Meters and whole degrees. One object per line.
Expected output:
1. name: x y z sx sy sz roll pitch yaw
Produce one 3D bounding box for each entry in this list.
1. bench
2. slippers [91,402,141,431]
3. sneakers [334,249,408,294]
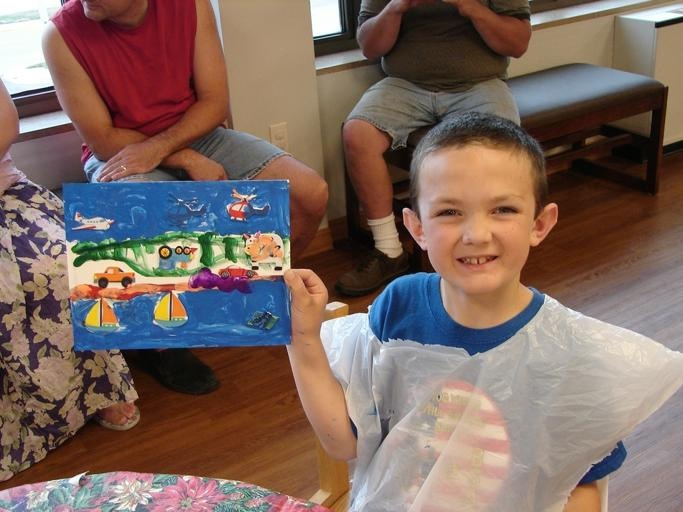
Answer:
1. bench: 0.810 -0.500 2.838 1.509 0.595 0.574 -19 30 -24
2. slippers: -0.688 0.501 1.811 0.129 0.042 0.066 6 41 10
3. sneakers: 0.118 0.074 2.442 0.357 0.149 0.125 -19 55 -11
